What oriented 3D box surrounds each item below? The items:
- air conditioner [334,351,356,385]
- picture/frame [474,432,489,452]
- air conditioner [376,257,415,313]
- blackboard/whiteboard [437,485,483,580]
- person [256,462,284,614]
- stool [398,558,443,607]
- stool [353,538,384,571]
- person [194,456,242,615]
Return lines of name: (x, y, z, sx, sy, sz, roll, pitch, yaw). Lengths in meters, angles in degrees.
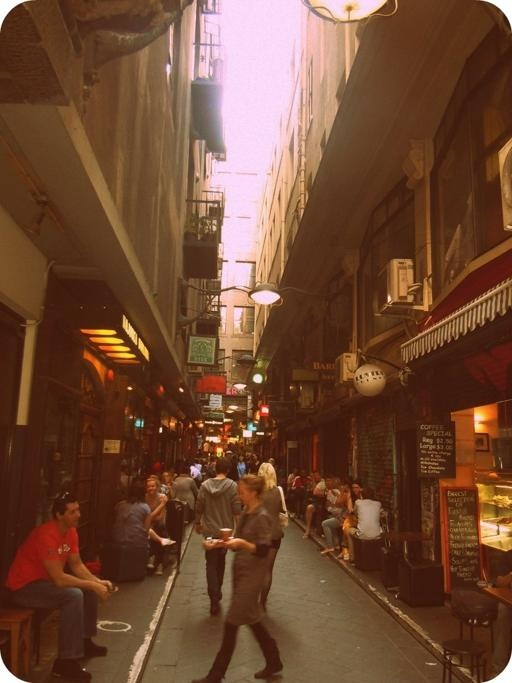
air conditioner: (2.005, 0.546, 12.561, 0.371, 0.916, 0.725, -1, 2, 10)
picture/frame: (3.488, 1.571, 8.755, 0.213, 0.339, 0.037, 4, -6, 17)
air conditioner: (2.245, -0.894, 9.039, 0.443, 0.936, 1.061, 2, -9, 0)
blackboard/whiteboard: (2.649, 2.520, 7.247, 0.542, 1.286, 0.328, 7, -8, -4)
person: (0.121, 2.537, 7.231, 0.412, 1.913, 0.518, 11, -12, -31)
stool: (2.108, 3.058, 7.214, 0.382, 0.551, 0.470, 1, -10, -1)
stool: (1.908, 3.610, 9.528, 0.370, 0.571, 0.451, 2, -12, -3)
person: (-0.467, 2.349, 6.904, 0.484, 1.745, 0.738, 0, -4, -3)
